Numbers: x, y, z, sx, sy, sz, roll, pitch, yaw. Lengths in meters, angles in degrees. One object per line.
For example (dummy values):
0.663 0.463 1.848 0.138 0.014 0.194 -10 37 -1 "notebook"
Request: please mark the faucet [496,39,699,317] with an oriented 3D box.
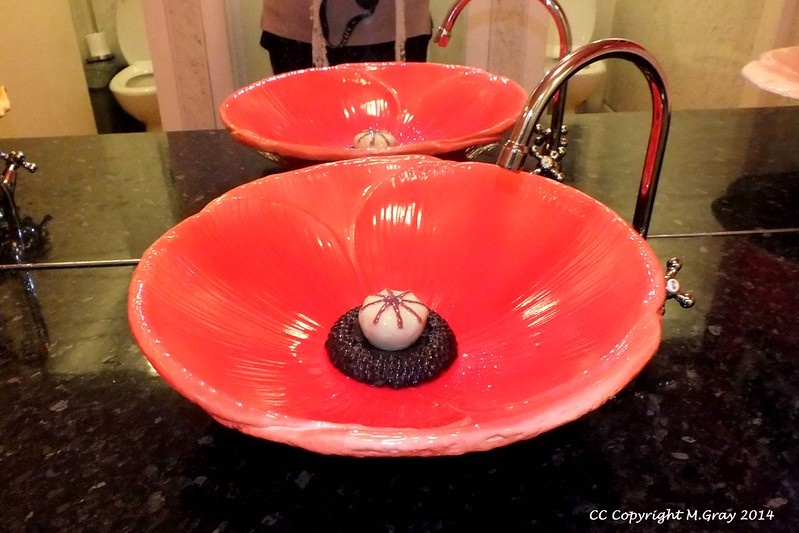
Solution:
0.299 -0.166 0.833 0.251 0.334 0.375 11 37 17 "faucet"
